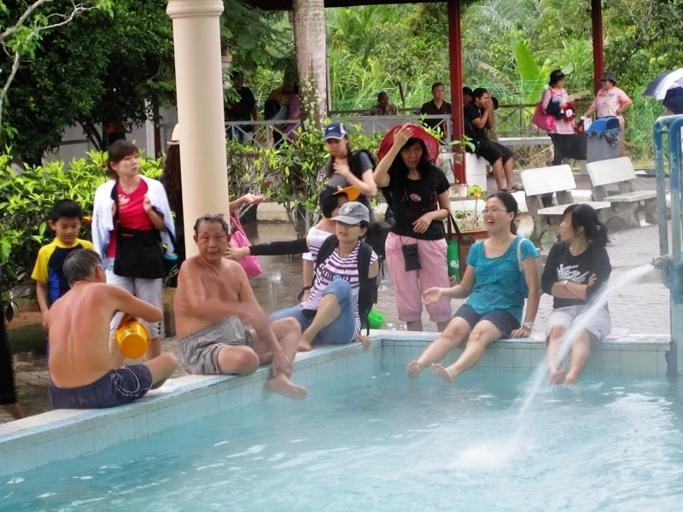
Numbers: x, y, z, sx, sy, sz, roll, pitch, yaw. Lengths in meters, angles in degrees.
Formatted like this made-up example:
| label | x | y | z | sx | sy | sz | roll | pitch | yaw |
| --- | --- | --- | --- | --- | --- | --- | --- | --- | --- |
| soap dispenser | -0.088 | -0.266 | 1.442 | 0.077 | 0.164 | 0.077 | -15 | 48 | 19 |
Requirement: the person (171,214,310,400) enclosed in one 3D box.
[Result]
| label | x | y | z | sx | sy | sz | roll | pitch | yaw |
| --- | --- | --- | --- | --- | --- | --- | --- | --- | --- |
| person | -0.822 | 0.407 | 4.997 | 0.840 | 1.440 | 0.325 | -5 | 11 | -16 |

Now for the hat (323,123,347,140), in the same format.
| label | x | y | z | sx | sy | sz | roll | pitch | yaw |
| --- | --- | --- | --- | --- | --- | --- | --- | --- | --- |
| hat | -0.055 | -1.179 | 6.286 | 0.213 | 0.167 | 0.201 | -2 | 10 | 0 |

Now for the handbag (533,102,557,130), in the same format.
| label | x | y | z | sx | sy | sz | roll | pitch | yaw |
| --- | --- | --- | --- | --- | --- | --- | --- | --- | --- |
| handbag | 4.390 | -3.003 | 14.368 | 0.482 | 0.606 | 0.237 | 7 | 13 | 40 |

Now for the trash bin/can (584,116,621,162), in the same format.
| label | x | y | z | sx | sy | sz | roll | pitch | yaw |
| --- | --- | --- | --- | --- | --- | --- | --- | --- | --- |
| trash bin/can | 5.901 | -2.647 | 14.929 | 0.698 | 0.983 | 0.547 | 2 | 11 | 18 |

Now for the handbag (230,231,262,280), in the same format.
| label | x | y | z | sx | sy | sz | roll | pitch | yaw |
| --- | --- | --- | --- | --- | --- | --- | --- | --- | --- |
| handbag | -0.900 | -0.044 | 6.426 | 0.343 | 0.433 | 0.152 | -17 | 5 | 45 |

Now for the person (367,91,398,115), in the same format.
| label | x | y | z | sx | sy | sz | roll | pitch | yaw |
| --- | --- | --- | --- | --- | --- | --- | --- | --- | --- |
| person | 0.952 | -3.561 | 15.424 | 0.604 | 0.590 | 1.621 | -1 | 10 | 3 |

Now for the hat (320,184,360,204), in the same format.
| label | x | y | z | sx | sy | sz | roll | pitch | yaw |
| --- | --- | --- | --- | --- | --- | --- | --- | --- | --- |
| hat | -0.006 | -0.576 | 6.055 | 0.246 | 0.086 | 0.172 | -4 | -8 | 5 |

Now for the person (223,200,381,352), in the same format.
| label | x | y | z | sx | sy | sz | roll | pitch | yaw |
| --- | --- | --- | --- | --- | --- | --- | --- | --- | --- |
| person | -0.149 | 0.128 | 6.254 | 1.006 | 1.639 | 1.189 | 15 | 5 | 37 |

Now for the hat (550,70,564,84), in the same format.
| label | x | y | z | sx | sy | sz | roll | pitch | yaw |
| --- | --- | --- | --- | --- | --- | --- | --- | --- | --- |
| hat | 4.571 | -3.793 | 14.027 | 0.277 | 0.262 | 0.550 | 1 | 11 | 15 |

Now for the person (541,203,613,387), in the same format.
| label | x | y | z | sx | sy | sz | roll | pitch | yaw |
| --- | --- | --- | --- | --- | --- | --- | --- | --- | --- |
| person | 1.941 | 0.280 | 5.519 | 0.568 | 1.394 | 0.818 | 3 | 11 | 25 |

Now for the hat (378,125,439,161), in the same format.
| label | x | y | z | sx | sy | sz | roll | pitch | yaw |
| --- | --- | --- | --- | --- | --- | --- | --- | --- | --- |
| hat | 0.615 | -1.043 | 6.108 | 0.542 | 0.359 | 0.787 | -1 | 10 | 5 |

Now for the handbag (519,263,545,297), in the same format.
| label | x | y | z | sx | sy | sz | roll | pitch | yaw |
| --- | --- | --- | --- | --- | --- | --- | --- | --- | --- |
| handbag | 1.650 | 0.186 | 5.623 | 0.232 | 0.353 | 0.129 | -8 | 12 | -30 |

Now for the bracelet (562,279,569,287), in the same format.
| label | x | y | z | sx | sy | sz | roll | pitch | yaw |
| --- | --- | --- | --- | --- | --- | --- | --- | --- | --- |
| bracelet | 1.886 | 0.227 | 5.563 | 0.057 | 0.057 | 0.021 | 2 | -8 | 33 |

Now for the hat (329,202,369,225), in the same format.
| label | x | y | z | sx | sy | sz | roll | pitch | yaw |
| --- | --- | --- | --- | --- | --- | --- | --- | --- | --- |
| hat | 0.076 | -0.340 | 5.483 | 0.244 | 0.138 | 0.170 | 7 | -4 | -29 |

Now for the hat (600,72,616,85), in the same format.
| label | x | y | z | sx | sy | sz | roll | pitch | yaw |
| --- | --- | --- | --- | --- | --- | --- | --- | --- | --- |
| hat | 5.981 | -3.982 | 14.907 | 0.311 | 0.176 | 0.321 | -2 | 10 | -37 |

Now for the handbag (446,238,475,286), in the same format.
| label | x | y | z | sx | sy | sz | roll | pitch | yaw |
| --- | --- | --- | --- | --- | --- | --- | --- | --- | --- |
| handbag | 1.250 | 0.055 | 7.002 | 0.216 | 0.593 | 0.476 | 3 | 7 | 30 |

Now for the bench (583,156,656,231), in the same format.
| label | x | y | z | sx | sy | sz | roll | pitch | yaw |
| --- | --- | --- | --- | --- | --- | --- | --- | --- | --- |
| bench | 5.109 | -1.145 | 12.016 | 1.152 | 1.141 | 0.807 | -14 | 20 | -28 |
